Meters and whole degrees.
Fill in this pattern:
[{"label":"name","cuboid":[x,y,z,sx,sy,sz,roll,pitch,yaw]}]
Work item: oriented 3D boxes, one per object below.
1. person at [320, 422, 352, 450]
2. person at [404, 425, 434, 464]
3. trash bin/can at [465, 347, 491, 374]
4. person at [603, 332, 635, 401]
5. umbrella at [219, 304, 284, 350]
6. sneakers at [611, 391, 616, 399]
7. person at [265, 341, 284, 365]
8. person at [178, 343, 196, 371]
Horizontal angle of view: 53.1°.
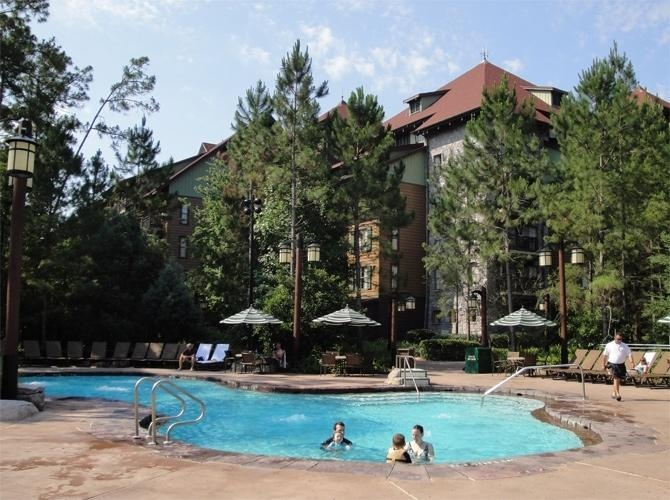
[{"label":"person","cuboid":[0.044,5.150,17.971,0.962,0.854,0.635,6,-29,-9]},{"label":"person","cuboid":[2.039,4.862,16.609,0.773,1.097,0.632,-1,11,16]},{"label":"trash bin/can","cuboid":[7.041,5.384,32.929,1.243,1.229,0.692,-1,-9,13]},{"label":"person","cuboid":[9.497,3.890,22.586,0.800,2.228,1.399,-2,-10,23]},{"label":"umbrella","cuboid":[-3.803,3.311,31.047,2.084,1.888,2.353,-3,-6,13]},{"label":"sneakers","cuboid":[9.167,4.755,22.086,0.095,0.216,0.394,0,-10,9]},{"label":"person","cuboid":[-2.806,4.882,31.537,0.882,1.112,1.678,2,-10,-5]},{"label":"person","cuboid":[-7.336,5.253,32.989,0.650,1.260,0.842,7,-39,-15]}]
